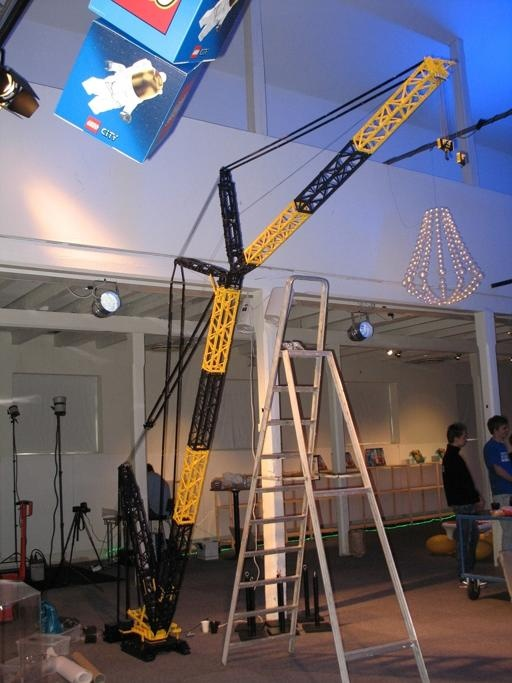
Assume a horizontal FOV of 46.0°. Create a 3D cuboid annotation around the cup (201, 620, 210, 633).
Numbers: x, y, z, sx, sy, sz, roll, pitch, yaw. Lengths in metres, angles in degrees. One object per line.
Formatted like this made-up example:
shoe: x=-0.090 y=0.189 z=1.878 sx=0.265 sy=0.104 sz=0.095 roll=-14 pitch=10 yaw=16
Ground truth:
cup: x=-0.431 y=2.474 z=5.222 sx=0.078 sy=0.111 sz=0.066 roll=-3 pitch=-14 yaw=5
